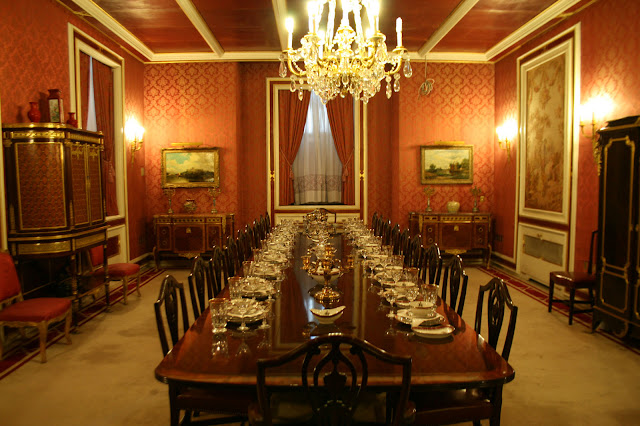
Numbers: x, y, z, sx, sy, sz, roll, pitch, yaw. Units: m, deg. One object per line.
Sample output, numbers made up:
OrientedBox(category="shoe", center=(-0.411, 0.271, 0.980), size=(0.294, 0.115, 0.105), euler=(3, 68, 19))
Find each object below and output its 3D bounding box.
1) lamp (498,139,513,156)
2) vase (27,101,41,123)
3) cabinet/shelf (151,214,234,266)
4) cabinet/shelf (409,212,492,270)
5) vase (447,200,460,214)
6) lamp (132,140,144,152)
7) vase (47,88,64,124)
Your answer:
OrientedBox(category="lamp", center=(3.620, -1.267, 8.880), size=(0.082, 0.329, 0.374), euler=(-3, 13, -11))
OrientedBox(category="vase", center=(-3.791, -1.322, 6.010), size=(0.133, 0.254, 0.385), euler=(-9, 16, -34))
OrientedBox(category="cabinet/shelf", center=(-2.317, 0.430, 8.324), size=(0.954, 0.677, 0.386), euler=(0, 0, -1))
OrientedBox(category="cabinet/shelf", center=(2.340, 0.440, 8.127), size=(1.053, 0.779, 0.411), euler=(-1, 1, -1))
OrientedBox(category="vase", center=(2.701, -0.111, 9.238), size=(0.200, 0.212, 0.227), euler=(1, -2, 0))
OrientedBox(category="lamp", center=(-3.529, -1.289, 8.836), size=(0.167, 0.223, 0.208), euler=(-4, 6, 9))
OrientedBox(category="vase", center=(-3.611, -1.431, 6.182), size=(0.243, 0.432, 0.250), euler=(1, 17, -14))
